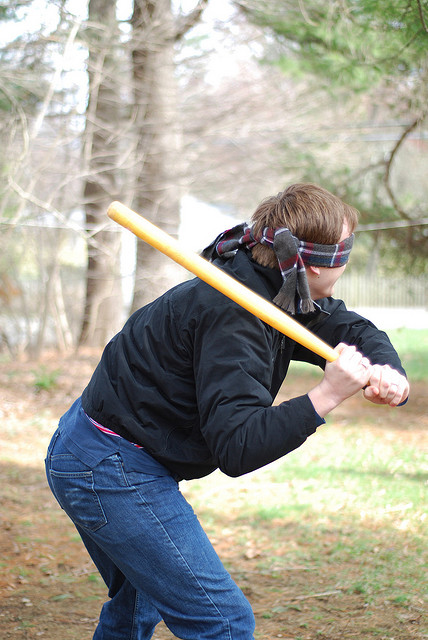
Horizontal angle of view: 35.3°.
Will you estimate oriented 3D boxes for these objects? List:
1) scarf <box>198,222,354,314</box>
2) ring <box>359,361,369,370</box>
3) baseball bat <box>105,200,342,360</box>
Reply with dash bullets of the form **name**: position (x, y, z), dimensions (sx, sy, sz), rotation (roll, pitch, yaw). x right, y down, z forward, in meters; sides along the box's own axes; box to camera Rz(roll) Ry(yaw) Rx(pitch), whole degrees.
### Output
- **scarf**: position (0.191, -0.215, 2.088), dimensions (0.308, 0.210, 0.474), rotation (-18, 27, -38)
- **ring**: position (0.401, 0.120, 1.813), dimensions (0.022, 0.019, 0.034), rotation (5, 8, 16)
- **baseball bat**: position (0.027, -0.099, 1.856), dimensions (0.773, 0.054, 0.056), rotation (34, -13, 5)
